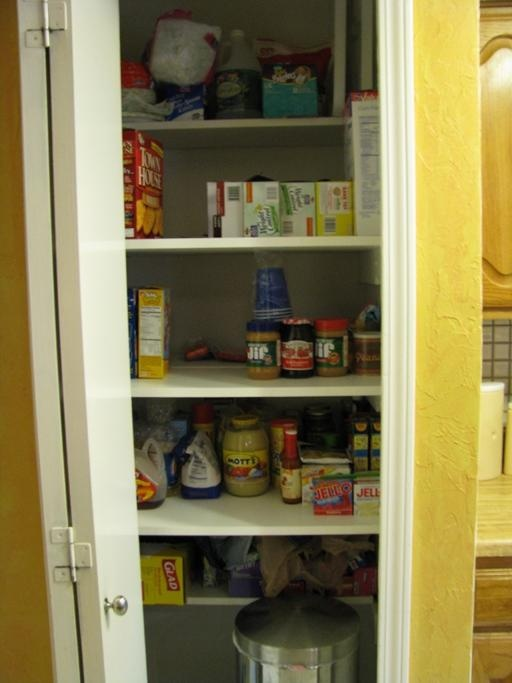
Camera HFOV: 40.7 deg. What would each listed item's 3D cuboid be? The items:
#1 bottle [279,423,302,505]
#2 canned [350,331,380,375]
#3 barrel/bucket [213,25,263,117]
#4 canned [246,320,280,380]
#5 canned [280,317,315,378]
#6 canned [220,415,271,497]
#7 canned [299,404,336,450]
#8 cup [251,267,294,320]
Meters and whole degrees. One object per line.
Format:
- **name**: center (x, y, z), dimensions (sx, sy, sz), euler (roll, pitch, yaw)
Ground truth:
- **bottle**: center (0.078, 0.272, 1.572), dimensions (0.046, 0.165, 0.112), euler (-3, 9, 2)
- **canned**: center (0.233, 0.033, 1.546), dimensions (0.085, 0.094, 0.086), euler (-4, 7, 19)
- **barrel/bucket**: center (-0.042, -0.652, 1.701), dimensions (0.128, 0.216, 0.121), euler (-2, 6, 0)
- **canned**: center (0.018, 0.016, 1.536), dimensions (0.102, 0.127, 0.099), euler (-3, 5, -26)
- **canned**: center (0.092, 0.015, 1.546), dimensions (0.077, 0.130, 0.080), euler (0, 0, 3)
- **canned**: center (-0.020, 0.273, 1.645), dimensions (0.112, 0.177, 0.113), euler (0, 4, 31)
- **canned**: center (0.159, 0.207, 1.732), dimensions (0.088, 0.152, 0.095), euler (-1, 3, 14)
- **cup**: center (0.039, -0.116, 1.614), dimensions (0.109, 0.152, 0.115), euler (-3, 6, 0)
